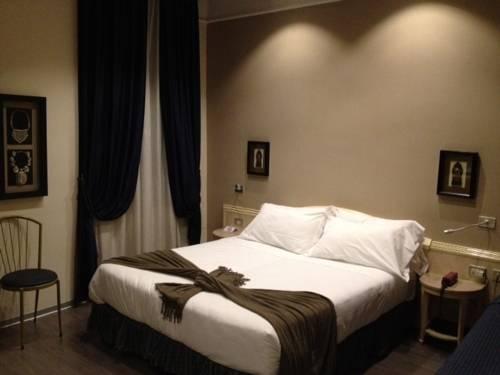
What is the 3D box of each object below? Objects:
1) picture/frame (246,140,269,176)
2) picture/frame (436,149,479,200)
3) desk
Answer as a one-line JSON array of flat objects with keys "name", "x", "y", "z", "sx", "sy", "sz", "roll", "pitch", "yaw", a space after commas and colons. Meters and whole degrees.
[{"name": "picture/frame", "x": 0.121, "y": -0.415, "z": 5.528, "sx": 0.389, "sy": 0.554, "sz": 0.055, "roll": 7, "pitch": 10, "yaw": 39}, {"name": "picture/frame", "x": 2.161, "y": -0.141, "z": 4.110, "sx": 0.402, "sy": 0.598, "sz": 0.072, "roll": 7, "pitch": 6, "yaw": 34}, {"name": "desk", "x": 2.032, "y": 1.262, "z": 4.186, "sx": 0.510, "sy": 0.730, "sz": 0.619, "roll": -11, "pitch": 12, "yaw": -41}]
